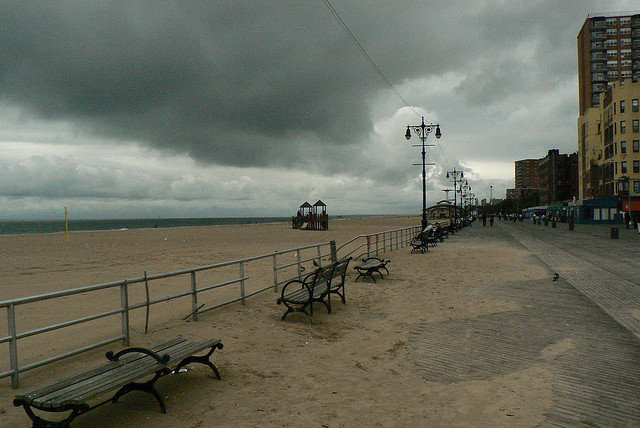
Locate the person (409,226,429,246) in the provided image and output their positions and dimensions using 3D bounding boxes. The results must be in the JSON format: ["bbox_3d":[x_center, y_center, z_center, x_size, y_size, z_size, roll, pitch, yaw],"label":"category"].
[{"bbox_3d":[4.781,1.083,24.719,1.043,0.571,0.764,-17,3,14],"label":"person"}]

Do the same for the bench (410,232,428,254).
[{"bbox_3d":[4.637,1.343,23.836,0.850,1.064,0.827,2,-2,20],"label":"bench"}]

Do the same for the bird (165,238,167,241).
[{"bbox_3d":[-12.774,2.078,43.386,0.137,0.141,0.162,2,-22,-7],"label":"bird"}]

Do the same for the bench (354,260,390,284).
[{"bbox_3d":[1.628,1.863,17.085,0.916,0.558,1.565,0,2,6],"label":"bench"}]

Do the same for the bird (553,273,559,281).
[{"bbox_3d":[7.583,2.032,16.799,0.215,0.225,0.214,-2,-1,17],"label":"bird"}]

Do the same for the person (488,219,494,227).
[{"bbox_3d":[22.645,1.168,69.145,0.310,0.976,0.843,-18,5,-16],"label":"person"}]
